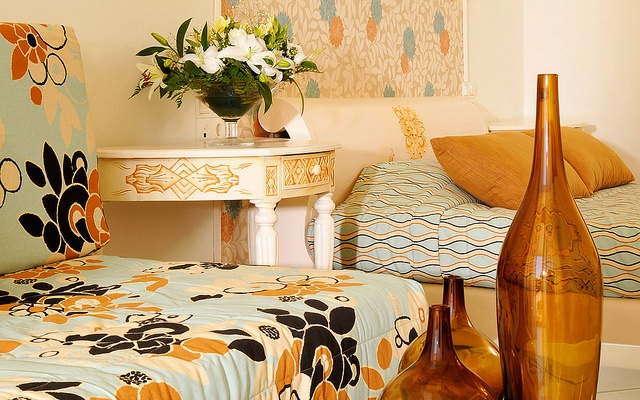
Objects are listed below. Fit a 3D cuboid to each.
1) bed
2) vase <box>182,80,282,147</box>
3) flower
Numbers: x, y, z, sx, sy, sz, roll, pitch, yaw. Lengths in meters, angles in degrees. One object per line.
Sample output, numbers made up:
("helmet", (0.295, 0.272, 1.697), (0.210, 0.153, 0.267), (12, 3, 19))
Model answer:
("bed", (0.669, 0.143, 2.292), (1.358, 0.607, 1.437), (2, 6, 30))
("vase", (-0.325, -0.309, 1.810), (0.266, 0.177, 0.255), (-1, -6, -13))
("flower", (-0.330, -0.455, 1.760), (0.492, 0.282, 0.489), (-1, 2, 29))
